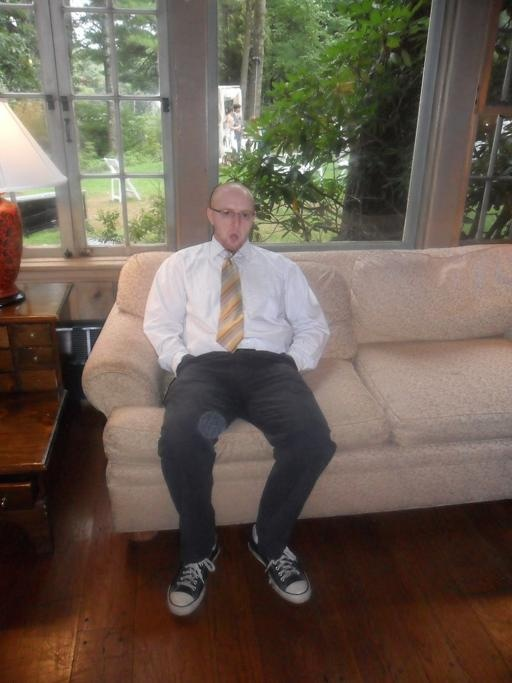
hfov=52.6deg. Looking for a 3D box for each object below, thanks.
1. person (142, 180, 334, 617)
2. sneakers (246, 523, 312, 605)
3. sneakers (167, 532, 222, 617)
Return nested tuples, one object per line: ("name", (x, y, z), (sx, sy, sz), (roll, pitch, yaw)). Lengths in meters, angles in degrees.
("person", (-0.007, 0.085, 1.591), (0.636, 0.966, 0.919), (-4, 28, -12))
("sneakers", (0.065, 0.651, 1.531), (0.098, 0.103, 0.264), (-9, 15, -16))
("sneakers", (-0.168, 0.658, 1.443), (0.081, 0.082, 0.212), (21, 4, 3))
